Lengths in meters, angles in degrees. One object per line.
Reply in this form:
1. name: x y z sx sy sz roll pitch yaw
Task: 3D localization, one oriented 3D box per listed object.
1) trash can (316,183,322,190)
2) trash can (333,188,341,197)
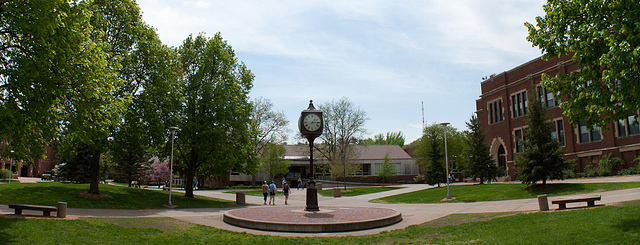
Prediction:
1. trash can: -0.112 12.971 89.842 1.442 1.048 1.256 0 -6 -2
2. trash can: 3.000 12.460 78.166 1.301 1.606 1.672 -2 10 -2
